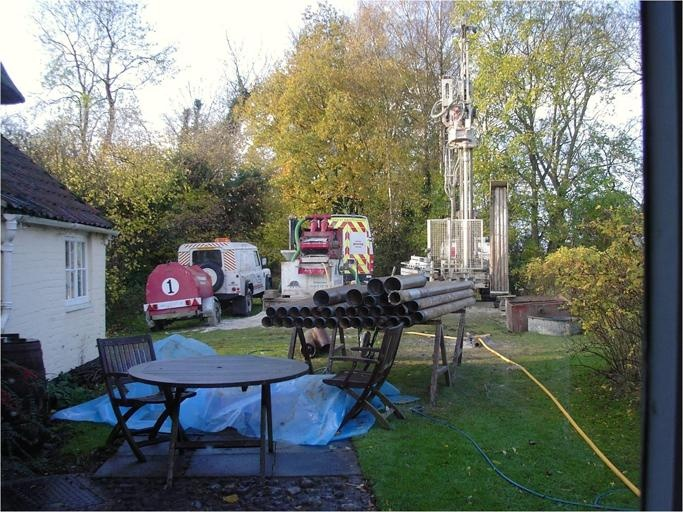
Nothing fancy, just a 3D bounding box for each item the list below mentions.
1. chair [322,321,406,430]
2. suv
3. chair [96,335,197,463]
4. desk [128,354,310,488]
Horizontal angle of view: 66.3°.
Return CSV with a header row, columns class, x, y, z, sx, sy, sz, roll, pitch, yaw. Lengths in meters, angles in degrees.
class,x,y,z,sx,sy,sz,roll,pitch,yaw
chair,0.282,1.481,6.374,0.925,1.200,0.877,-2,-2,28
suv,-3.657,0.583,16.967,1.989,2.055,3.670,0,2,9
chair,-2.058,1.447,5.545,0.830,1.157,0.789,-2,-3,35
desk,-1.295,1.682,5.409,1.485,0.994,1.600,-3,-5,17
